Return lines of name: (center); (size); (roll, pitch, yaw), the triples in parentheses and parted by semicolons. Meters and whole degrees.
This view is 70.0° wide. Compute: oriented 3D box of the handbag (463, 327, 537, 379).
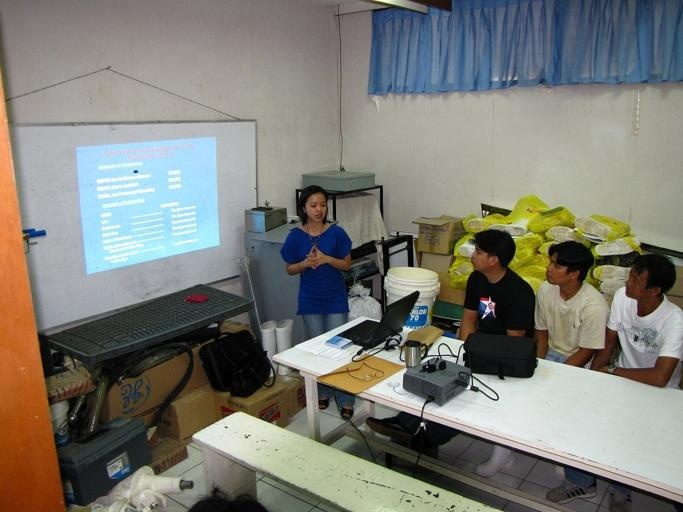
handbag: (0.925, 0.575, 2.845); (0.337, 0.123, 0.251); (5, 18, 29)

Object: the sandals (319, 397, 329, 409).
sandals: (-0.144, 1.257, 4.142); (0.119, 0.085, 0.119); (0, 2, 3)

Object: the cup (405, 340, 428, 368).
cup: (0.484, 0.603, 3.000); (0.171, 0.171, 0.102); (-4, 8, -21)

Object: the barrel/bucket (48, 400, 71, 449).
barrel/bucket: (-1.766, 1.046, 3.063); (0.090, 0.261, 0.163); (-11, 18, -22)

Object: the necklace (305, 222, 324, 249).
necklace: (-0.205, -0.165, 3.874); (0.126, 0.180, 0.046); (1, -3, 6)

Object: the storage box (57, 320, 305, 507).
storage box: (-1.335, 1.168, 3.639); (0.525, 0.631, 1.001); (-11, -1, 44)

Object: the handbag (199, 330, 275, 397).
handbag: (-0.868, 0.888, 3.935); (0.244, 0.410, 0.426); (-19, 2, 33)

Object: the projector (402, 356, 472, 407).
projector: (0.549, 0.681, 2.770); (0.306, 0.192, 0.354); (5, 11, 31)

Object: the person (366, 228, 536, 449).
person: (0.826, 0.461, 3.358); (1.119, 1.115, 0.699); (-16, 18, -32)

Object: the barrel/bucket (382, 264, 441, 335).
barrel/bucket: (0.630, 0.388, 4.249); (0.448, 0.493, 0.456); (-1, 16, 0)
